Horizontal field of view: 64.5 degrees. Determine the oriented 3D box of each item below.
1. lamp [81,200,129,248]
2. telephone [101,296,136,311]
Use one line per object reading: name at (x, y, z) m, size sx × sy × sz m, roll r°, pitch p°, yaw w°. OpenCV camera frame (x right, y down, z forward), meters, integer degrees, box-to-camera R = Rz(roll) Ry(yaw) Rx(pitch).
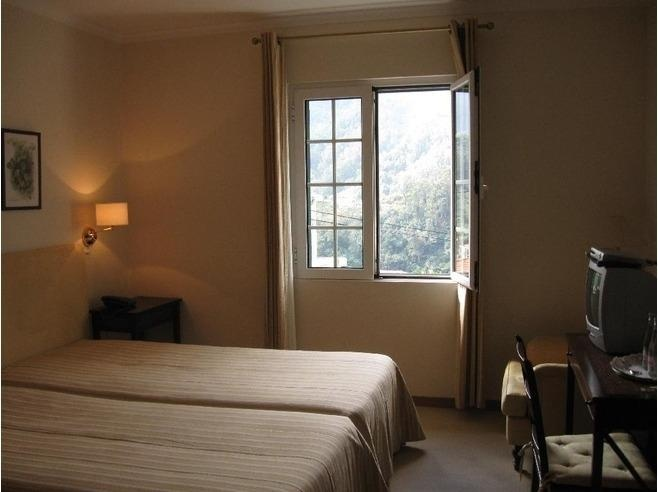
lamp at (-1.985, -0.190, 4.650) m, size 0.330 × 0.530 × 0.249 m, roll -6°, pitch 27°, yaw -35°
telephone at (-1.823, 0.492, 4.523) m, size 0.177 × 0.077 × 0.194 m, roll 3°, pitch -1°, yaw 10°
